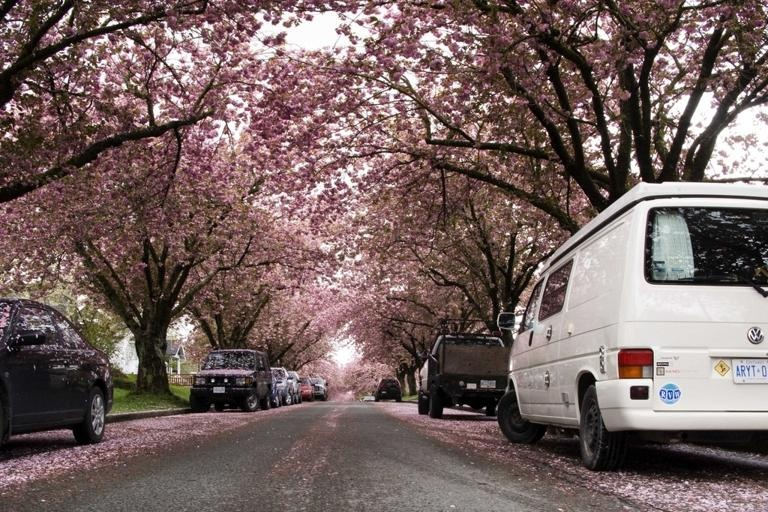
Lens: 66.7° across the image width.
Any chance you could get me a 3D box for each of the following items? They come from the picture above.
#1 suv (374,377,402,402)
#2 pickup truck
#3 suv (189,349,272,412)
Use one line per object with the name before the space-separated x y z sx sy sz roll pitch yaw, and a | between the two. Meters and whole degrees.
suv | 0.341 11.489 49.723 2.151 1.915 1.849 -2 8 14
pickup truck | 2.366 3.685 18.952 1.868 1.676 3.344 2 -10 -6
suv | -5.954 5.220 23.916 1.989 1.823 3.592 -1 -20 1
